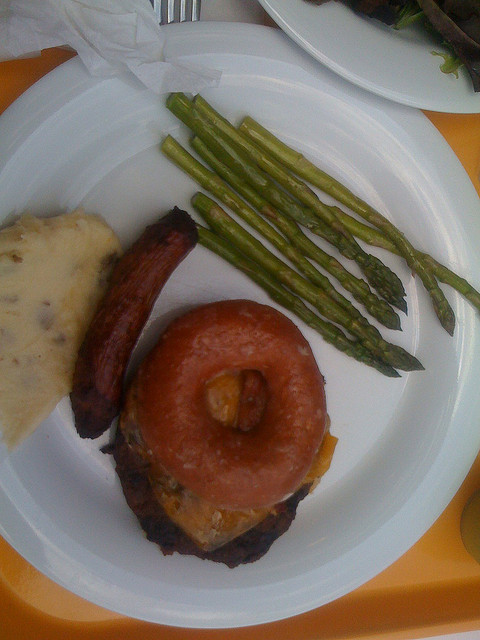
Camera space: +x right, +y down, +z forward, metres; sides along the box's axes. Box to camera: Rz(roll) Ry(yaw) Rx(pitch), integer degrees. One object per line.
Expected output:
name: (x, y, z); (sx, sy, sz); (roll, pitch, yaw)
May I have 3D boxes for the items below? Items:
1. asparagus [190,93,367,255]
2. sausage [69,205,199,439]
asparagus: (0.105, -0.410, 1.624); (0.423, 0.387, 0.363); (-30, 47, -30)
sausage: (-0.289, -0.007, 1.470); (0.155, 0.170, 0.644); (24, 76, 0)
